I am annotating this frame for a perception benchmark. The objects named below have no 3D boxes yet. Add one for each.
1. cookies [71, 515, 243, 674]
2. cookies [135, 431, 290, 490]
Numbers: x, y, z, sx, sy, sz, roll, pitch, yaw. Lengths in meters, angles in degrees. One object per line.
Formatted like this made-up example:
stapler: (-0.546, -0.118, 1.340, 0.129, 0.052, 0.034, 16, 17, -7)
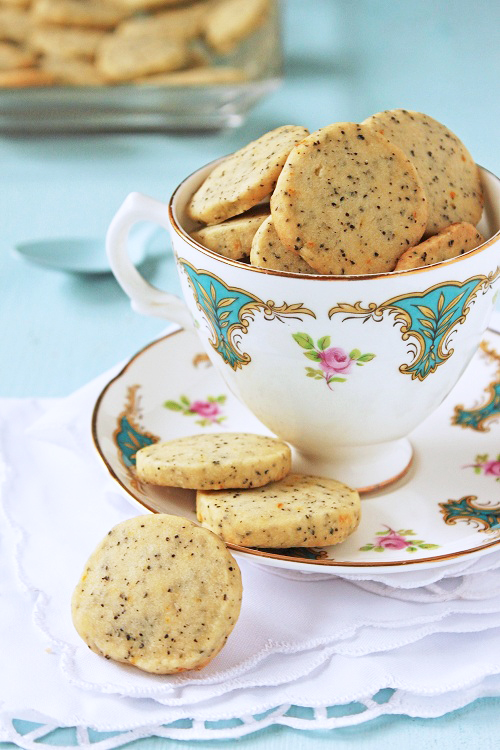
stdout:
cookies: (-0.058, 0.159, 0.565, 0.143, 0.148, 0.040, 3, 15, -44)
cookies: (-0.035, 0.077, 0.683, 0.128, 0.025, 0.136, 7, 11, 45)
